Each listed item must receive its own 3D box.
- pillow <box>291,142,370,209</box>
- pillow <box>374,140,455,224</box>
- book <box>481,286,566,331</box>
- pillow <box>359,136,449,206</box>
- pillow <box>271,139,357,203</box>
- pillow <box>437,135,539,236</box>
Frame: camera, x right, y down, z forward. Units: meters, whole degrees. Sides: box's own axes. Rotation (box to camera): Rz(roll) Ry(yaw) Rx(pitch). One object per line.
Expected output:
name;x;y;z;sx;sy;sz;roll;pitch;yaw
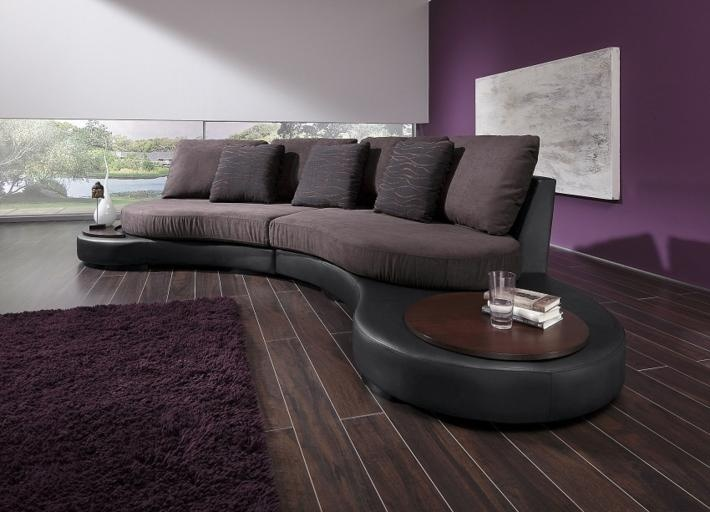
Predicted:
pillow;-0.147;-0.679;3.968;0.684;0.576;0.185;4;-16;38
pillow;0.453;-0.572;3.360;0.207;0.576;0.698;19;-8;-39
book;0.768;0.213;2.024;0.199;0.070;0.252;-5;7;-42
pillow;0.441;-0.692;4.062;0.215;0.593;0.698;9;-6;-37
pillow;-0.435;-0.832;4.418;0.733;0.608;0.208;-1;-12;28
pillow;0.856;-0.436;2.934;0.305;0.473;0.700;36;-12;-25
